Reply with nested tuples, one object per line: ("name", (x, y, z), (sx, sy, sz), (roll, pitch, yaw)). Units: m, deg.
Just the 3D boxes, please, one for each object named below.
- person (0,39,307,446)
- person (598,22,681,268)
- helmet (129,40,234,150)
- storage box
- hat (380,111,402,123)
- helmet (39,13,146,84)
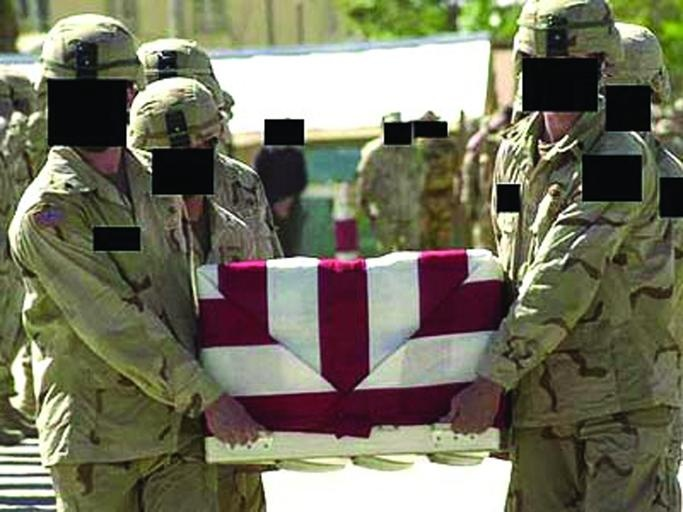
("person", (-0.713, -0.332, 9.580), (0.729, 1.781, 0.656), (-15, 19, 5))
("person", (1.091, -0.456, 9.340), (0.494, 0.755, 0.262), (4, 0, 9))
("helmet", (-0.575, -0.657, 9.559), (0.368, 0.392, 0.273), (-9, 16, -28))
("storage box", (0.025, 0.477, 9.409), (1.097, 0.771, 0.692), (-3, -25, -3))
("hat", (0.188, -0.542, 9.789), (0.076, 0.041, 0.040), (-1, 9, -1))
("helmet", (-0.834, -0.729, 9.256), (0.305, 0.346, 0.416), (1, 4, 35))
